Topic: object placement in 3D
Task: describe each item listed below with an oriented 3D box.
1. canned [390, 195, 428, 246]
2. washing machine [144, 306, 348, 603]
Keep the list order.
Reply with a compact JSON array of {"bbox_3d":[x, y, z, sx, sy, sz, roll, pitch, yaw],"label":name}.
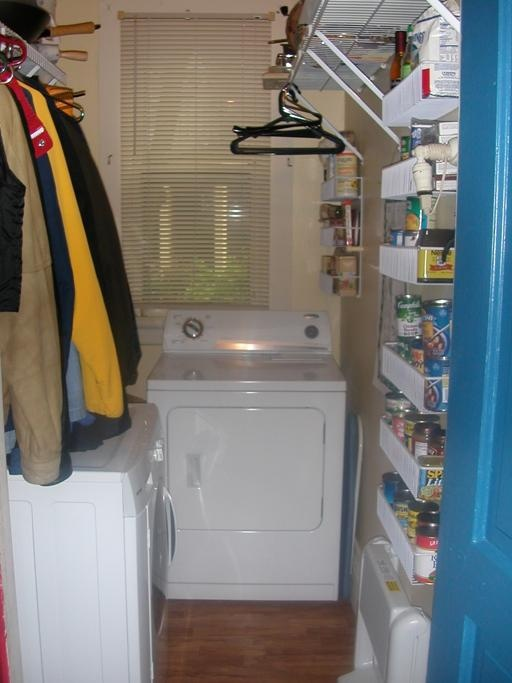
[{"bbox_3d":[0.295,-0.223,1.132,0.047,0.094,0.080,-1,11,-9],"label":"canned"},{"bbox_3d":[-0.050,0.337,2.452,0.699,1.063,0.684,0,11,-3],"label":"washing machine"}]
